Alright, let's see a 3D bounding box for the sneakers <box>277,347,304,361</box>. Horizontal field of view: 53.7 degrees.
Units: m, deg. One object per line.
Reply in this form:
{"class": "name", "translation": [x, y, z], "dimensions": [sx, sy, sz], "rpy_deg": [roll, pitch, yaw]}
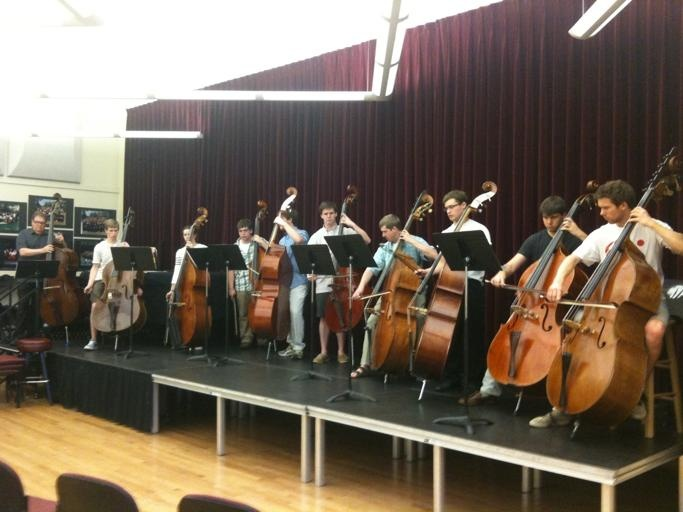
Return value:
{"class": "sneakers", "translation": [-0.551, 1.068, 7.425], "dimensions": [0.339, 0.156, 0.111], "rpy_deg": [5, 5, 42]}

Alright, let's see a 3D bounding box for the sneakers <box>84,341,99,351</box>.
{"class": "sneakers", "translation": [-2.894, 1.052, 7.814], "dimensions": [0.074, 0.086, 0.183], "rpy_deg": [-1, -10, 11]}

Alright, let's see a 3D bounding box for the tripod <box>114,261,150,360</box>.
{"class": "tripod", "translation": [-2.328, 0.533, 7.537], "dimensions": [0.395, 1.221, 1.246], "rpy_deg": [-2, 5, -19]}

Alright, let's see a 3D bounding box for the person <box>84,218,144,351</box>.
{"class": "person", "translation": [-2.767, 0.264, 8.048], "dimensions": [0.622, 1.671, 0.483], "rpy_deg": [0, -11, 2]}

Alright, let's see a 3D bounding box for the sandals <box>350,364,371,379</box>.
{"class": "sandals", "translation": [0.178, 1.133, 6.490], "dimensions": [0.196, 0.082, 0.075], "rpy_deg": [5, -14, -44]}

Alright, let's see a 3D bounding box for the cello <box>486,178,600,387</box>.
{"class": "cello", "translation": [1.420, 0.381, 5.162], "dimensions": [0.547, 1.822, 0.588], "rpy_deg": [22, -14, -6]}

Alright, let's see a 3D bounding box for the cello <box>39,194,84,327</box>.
{"class": "cello", "translation": [-3.394, 0.160, 8.108], "dimensions": [0.443, 1.534, 0.767], "rpy_deg": [-2, 5, -23]}

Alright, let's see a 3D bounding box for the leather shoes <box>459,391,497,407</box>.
{"class": "leather shoes", "translation": [1.076, 1.133, 5.450], "dimensions": [0.384, 0.143, 0.143], "rpy_deg": [1, -7, -15]}

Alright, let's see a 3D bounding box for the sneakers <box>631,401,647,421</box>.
{"class": "sneakers", "translation": [2.129, 1.123, 4.828], "dimensions": [0.058, 0.169, 0.121], "rpy_deg": [9, -25, -1]}

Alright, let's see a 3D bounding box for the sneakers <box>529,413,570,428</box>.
{"class": "sneakers", "translation": [1.534, 1.205, 4.998], "dimensions": [0.305, 0.142, 0.118], "rpy_deg": [3, -9, -5]}
